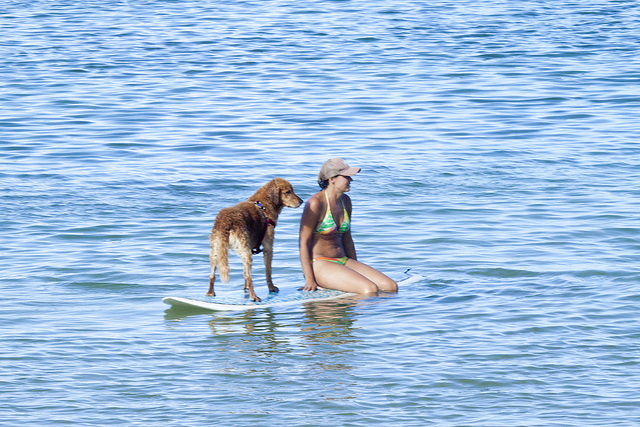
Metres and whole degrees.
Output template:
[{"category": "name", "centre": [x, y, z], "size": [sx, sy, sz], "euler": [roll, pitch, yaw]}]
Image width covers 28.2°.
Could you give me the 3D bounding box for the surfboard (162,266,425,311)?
[{"category": "surfboard", "centre": [-0.592, 1.592, 26.736], "size": [4.483, 3.530, 0.725], "euler": [-5, 85, 34]}]
